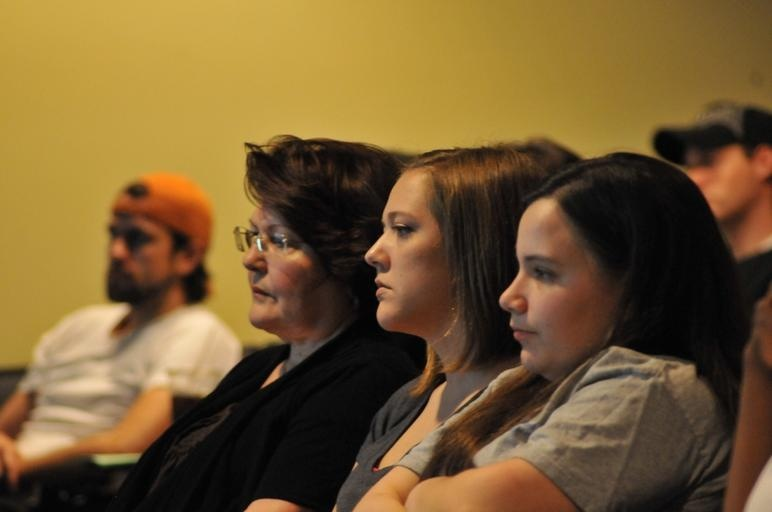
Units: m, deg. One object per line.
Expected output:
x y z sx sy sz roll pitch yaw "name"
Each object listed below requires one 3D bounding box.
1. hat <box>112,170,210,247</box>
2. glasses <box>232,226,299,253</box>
-0.709 -0.164 2.682 0.329 0.212 0.299 3 7 16 "hat"
-0.331 -0.041 2.248 0.108 0.034 0.101 11 -7 -42 "glasses"
